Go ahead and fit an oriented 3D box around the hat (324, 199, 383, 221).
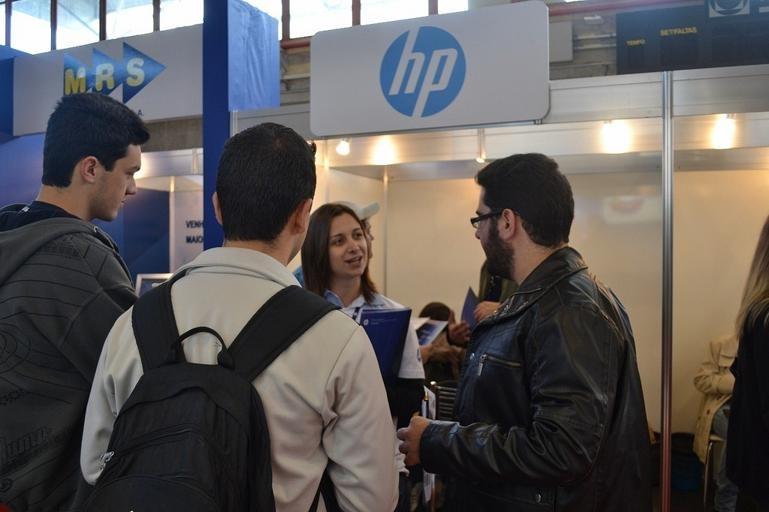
[{"bbox_3d":[-0.180,-0.301,3.967,0.254,0.080,0.164,-5,16,5],"label":"hat"}]
